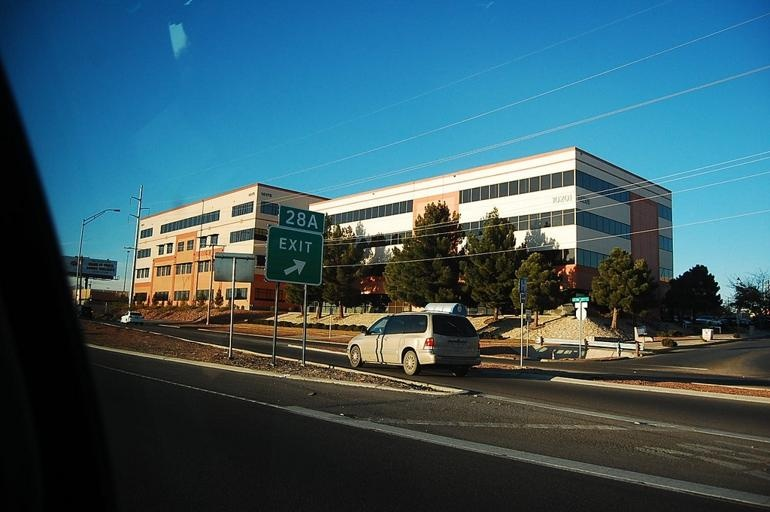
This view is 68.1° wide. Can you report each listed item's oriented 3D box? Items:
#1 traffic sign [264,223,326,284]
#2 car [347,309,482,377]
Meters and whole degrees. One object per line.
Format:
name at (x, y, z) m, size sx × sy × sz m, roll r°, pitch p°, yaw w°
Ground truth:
traffic sign at (-2.847, -0.045, 17.678) m, size 1.938 × 1.707 × 0.343 m, roll 7°, pitch -8°, yaw -37°
car at (0.785, 2.570, 17.961) m, size 1.898 × 1.445 × 3.658 m, roll 8°, pitch -7°, yaw -38°
